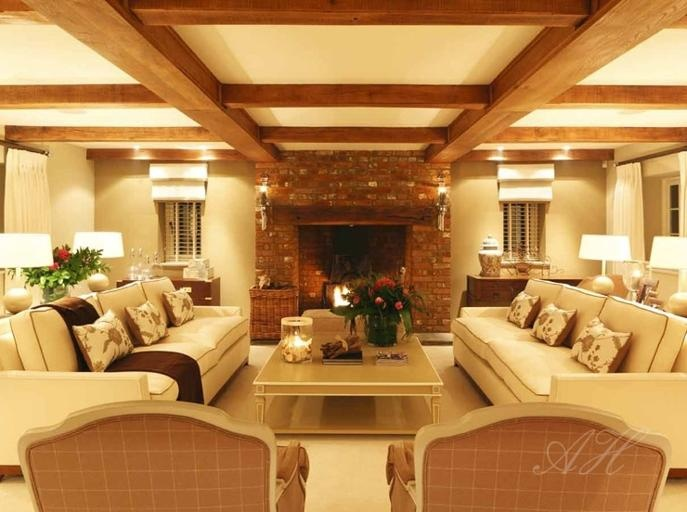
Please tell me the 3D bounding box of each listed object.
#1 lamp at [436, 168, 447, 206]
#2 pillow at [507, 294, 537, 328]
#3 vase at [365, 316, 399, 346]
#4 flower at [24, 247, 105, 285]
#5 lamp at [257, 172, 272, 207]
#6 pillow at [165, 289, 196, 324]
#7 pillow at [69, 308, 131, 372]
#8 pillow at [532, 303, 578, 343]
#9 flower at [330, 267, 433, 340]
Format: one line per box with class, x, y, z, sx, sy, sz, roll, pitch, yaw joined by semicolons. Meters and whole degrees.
lamp;1.325;-0.940;7.194;0.134;0.506;0.191;0;3;8
pillow;1.797;0.541;5.378;0.215;0.336;0.542;4;4;1
vase;0.329;0.654;4.706;0.294;0.273;0.272;2;-2;-24
flower;-2.480;0.097;4.839;0.525;0.285;0.448;0;5;-14
lamp;-1.060;-0.887;7.217;0.162;0.431;0.170;-1;3;-9
pillow;-1.646;0.525;5.404;0.194;0.315;0.493;-8;0;6
pillow;-1.815;0.648;3.985;0.170;0.269;0.438;-13;6;-2
pillow;1.843;0.597;4.654;0.155;0.230;0.341;16;0;-1
flower;0.383;0.424;4.777;0.734;0.494;0.726;0;-1;31
